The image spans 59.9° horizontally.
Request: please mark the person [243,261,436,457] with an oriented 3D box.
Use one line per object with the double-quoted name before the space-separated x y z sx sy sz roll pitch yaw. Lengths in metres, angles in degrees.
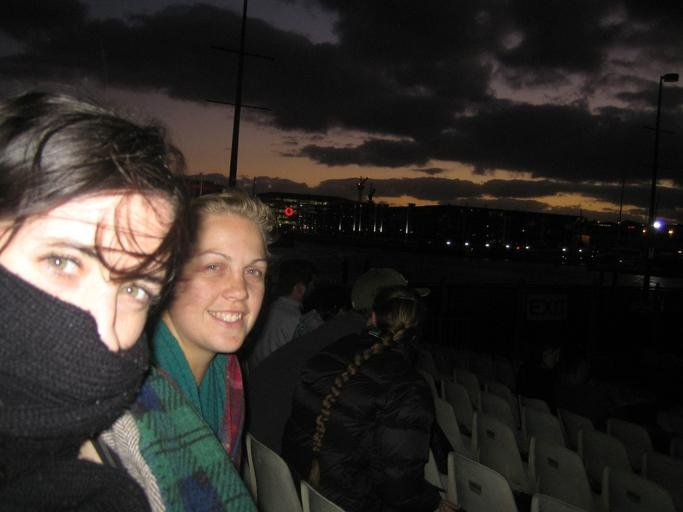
"person" -0.273 0.626 4.398 1.339 1.317 1.058 27 2 -7
